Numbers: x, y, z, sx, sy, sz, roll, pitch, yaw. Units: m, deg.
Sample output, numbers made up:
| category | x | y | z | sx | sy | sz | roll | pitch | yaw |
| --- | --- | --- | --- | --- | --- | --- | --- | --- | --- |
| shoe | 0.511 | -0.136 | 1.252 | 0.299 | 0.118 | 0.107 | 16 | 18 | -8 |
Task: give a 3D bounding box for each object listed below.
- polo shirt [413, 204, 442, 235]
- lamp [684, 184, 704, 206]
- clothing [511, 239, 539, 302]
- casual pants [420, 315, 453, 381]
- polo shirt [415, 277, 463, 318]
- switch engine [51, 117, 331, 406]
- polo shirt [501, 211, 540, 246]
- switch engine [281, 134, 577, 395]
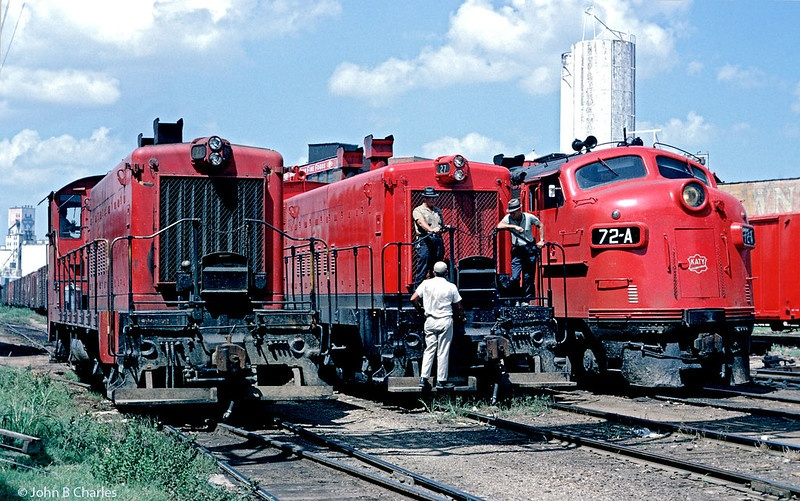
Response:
| category | x | y | z | sx | sy | sz | roll | pitch | yaw |
| --- | --- | --- | --- | --- | --- | --- | --- | --- | --- |
| polo shirt | 0.640 | -0.635 | 17.029 | 0.692 | 0.672 | 0.346 | 3 | -7 | -28 |
| lamp | 6.310 | -1.143 | 17.472 | 0.543 | 0.504 | 0.184 | -1 | 4 | -28 |
| clothing | 2.608 | 0.521 | 17.368 | 0.578 | 1.278 | 0.377 | 5 | 9 | 12 |
| casual pants | 0.730 | 1.934 | 15.848 | 0.570 | 1.268 | 0.554 | 1 | 3 | 5 |
| polo shirt | 0.784 | 0.920 | 16.069 | 1.167 | 1.064 | 0.638 | 1 | 2 | 13 |
| switch engine | -5.524 | 0.423 | 19.631 | 3.835 | 5.219 | 11.712 | 0 | -2 | -21 |
| polo shirt | 2.544 | -0.432 | 17.206 | 0.815 | 0.782 | 0.433 | -5 | 33 | 7 |
| switch engine | -0.751 | 0.363 | 22.545 | 4.724 | 6.380 | 14.651 | -3 | 1 | -20 |
